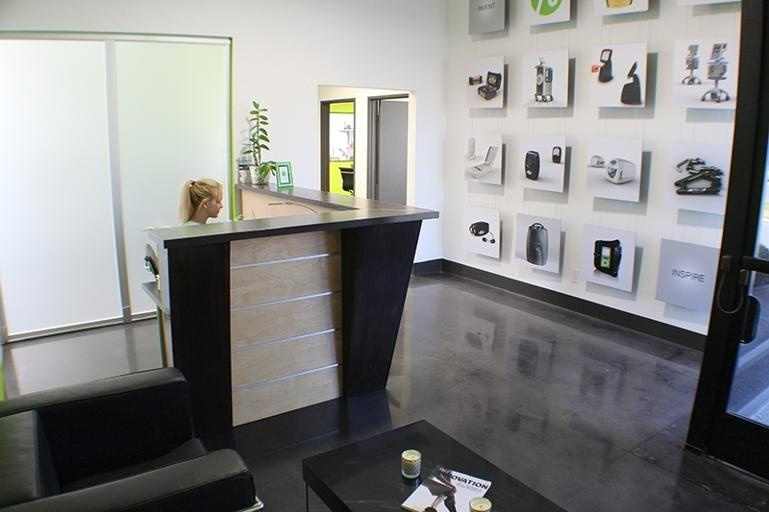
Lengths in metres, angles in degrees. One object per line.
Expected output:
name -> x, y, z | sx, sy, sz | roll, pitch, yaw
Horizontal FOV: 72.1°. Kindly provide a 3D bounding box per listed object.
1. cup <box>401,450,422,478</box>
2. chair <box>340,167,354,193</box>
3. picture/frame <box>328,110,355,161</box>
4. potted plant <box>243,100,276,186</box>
cup -> 0.168, 1.298, 3.348 | 0.140, 0.147, 0.136 | 3, 6, 0
chair -> -0.779, -1.577, 11.102 | 0.223, 0.494, 0.545 | -3, 14, -9
picture/frame -> -1.012, -2.813, 12.489 | 0.533, 1.137, 0.391 | -3, 14, -8
potted plant -> -1.594, -1.426, 6.617 | 0.364, 1.016, 0.681 | -4, 14, -12
